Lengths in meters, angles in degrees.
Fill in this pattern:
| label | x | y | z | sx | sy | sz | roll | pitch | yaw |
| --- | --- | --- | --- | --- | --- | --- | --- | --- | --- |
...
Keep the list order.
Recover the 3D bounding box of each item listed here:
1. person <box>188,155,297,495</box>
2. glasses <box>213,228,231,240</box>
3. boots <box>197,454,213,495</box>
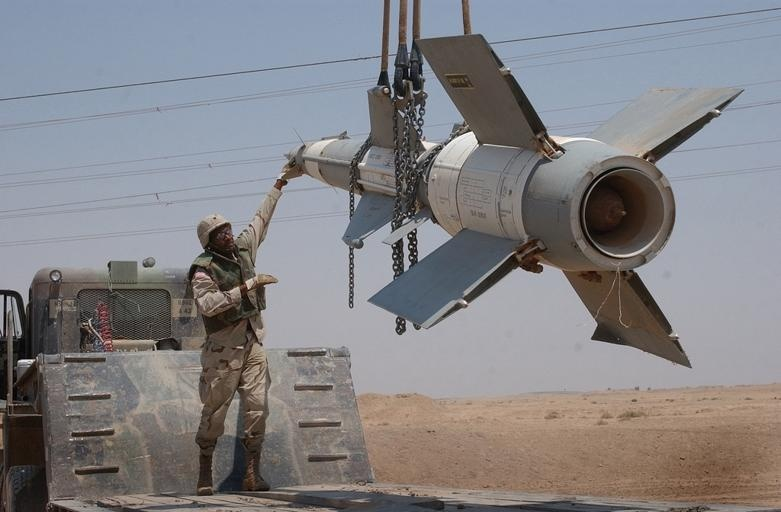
| label | x | y | z | sx | sy | sz | roll | pitch | yaw |
| --- | --- | --- | --- | --- | --- | --- | --- | --- | --- |
| person | -1.986 | 1.069 | 12.028 | 1.084 | 3.781 | 1.201 | -2 | -4 | -9 |
| glasses | -2.153 | -0.262 | 12.111 | 0.182 | 0.099 | 0.139 | -20 | -5 | 40 |
| boots | -2.332 | 2.724 | 11.861 | 0.190 | 0.481 | 0.278 | -1 | -4 | -17 |
